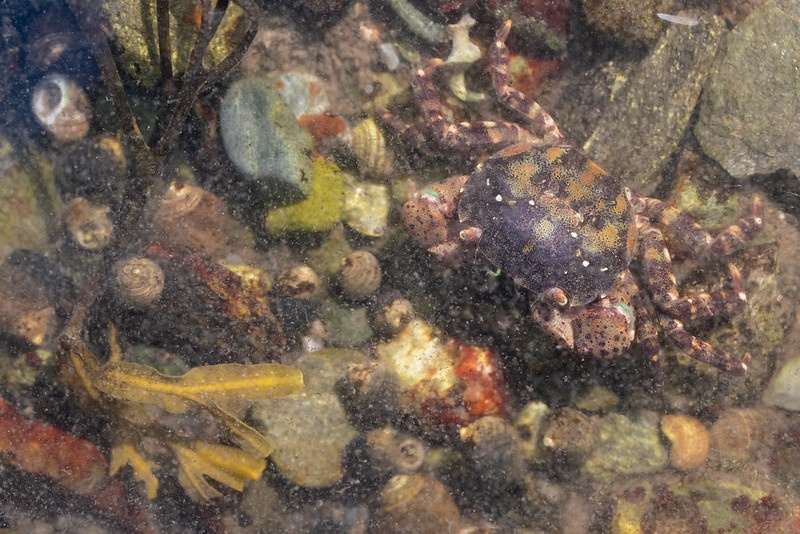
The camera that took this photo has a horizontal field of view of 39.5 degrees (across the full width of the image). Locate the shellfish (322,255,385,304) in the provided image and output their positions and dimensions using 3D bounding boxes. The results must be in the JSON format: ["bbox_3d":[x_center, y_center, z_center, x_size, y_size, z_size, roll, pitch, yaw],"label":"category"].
[{"bbox_3d":[-0.339,0.101,8.971,0.459,0.340,0.596,-18,26,-39],"label":"shellfish"}]

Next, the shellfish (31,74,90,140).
[{"bbox_3d":[-2.703,-1.270,8.882,0.438,0.300,0.434,-6,60,-15],"label":"shellfish"}]
